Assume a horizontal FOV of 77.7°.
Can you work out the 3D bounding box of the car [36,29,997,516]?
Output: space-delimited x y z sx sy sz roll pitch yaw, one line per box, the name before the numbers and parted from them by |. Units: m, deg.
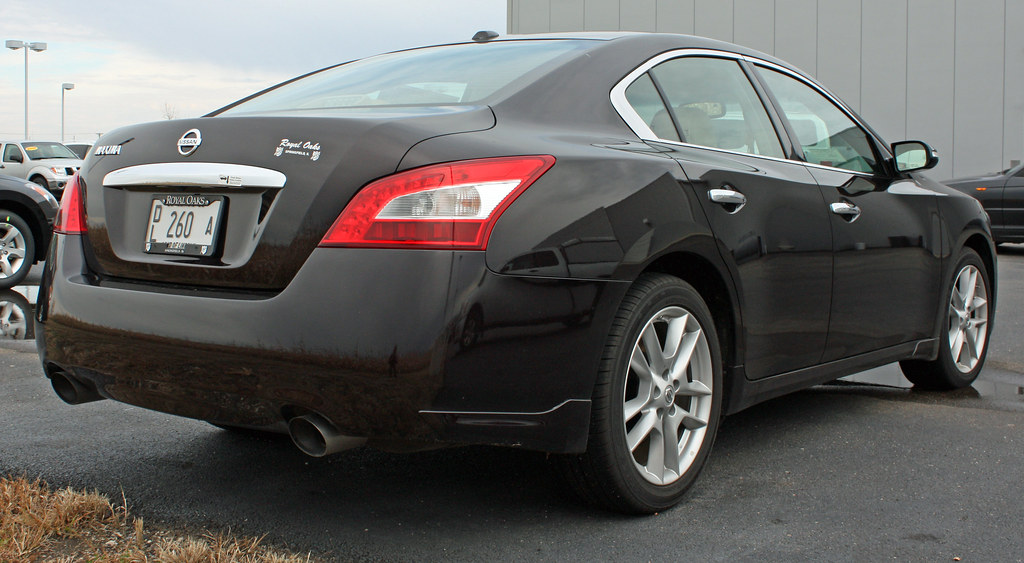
car | 1.024 -0.142 4.293 2.557 1.689 5.600 0 4 44
